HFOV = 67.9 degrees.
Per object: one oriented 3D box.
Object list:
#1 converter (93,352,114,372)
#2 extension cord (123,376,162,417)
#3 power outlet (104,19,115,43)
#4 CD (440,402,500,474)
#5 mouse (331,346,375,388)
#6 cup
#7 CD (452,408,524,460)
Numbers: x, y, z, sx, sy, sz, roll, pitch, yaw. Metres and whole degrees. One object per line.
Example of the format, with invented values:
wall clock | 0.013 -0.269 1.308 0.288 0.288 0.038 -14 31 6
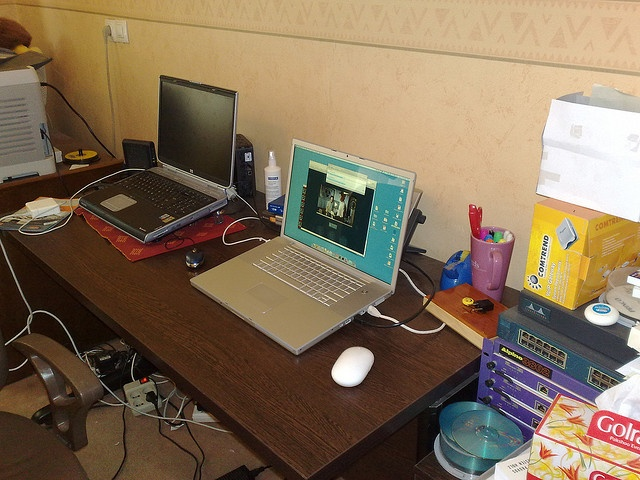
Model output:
converter | -0.945 0.532 2.076 0.058 0.016 0.059 9 31 16
extension cord | -0.730 0.639 1.954 0.140 0.067 0.141 -17 84 -29
power outlet | -0.998 -0.999 2.257 0.078 0.078 0.043 36 52 24
CD | 0.308 0.414 1.018 0.157 0.108 0.138 0 29 -1
mouse | 0.073 0.276 1.051 0.080 0.027 0.114 7 32 28
cup | 0.438 0.080 1.274 0.098 0.196 0.098 2 28 -1
CD | 0.343 0.403 1.042 0.145 0.071 0.134 -1 25 -5
